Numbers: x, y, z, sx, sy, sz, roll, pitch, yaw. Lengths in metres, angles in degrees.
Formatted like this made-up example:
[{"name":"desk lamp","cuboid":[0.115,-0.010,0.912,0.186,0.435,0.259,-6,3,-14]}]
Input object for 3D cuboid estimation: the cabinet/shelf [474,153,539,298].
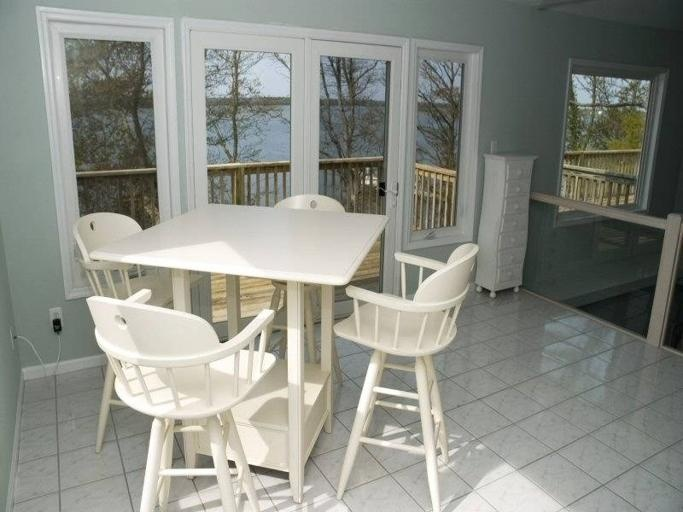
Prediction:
[{"name":"cabinet/shelf","cuboid":[1.606,-0.310,5.010,0.512,1.382,0.403,2,18,13]}]
